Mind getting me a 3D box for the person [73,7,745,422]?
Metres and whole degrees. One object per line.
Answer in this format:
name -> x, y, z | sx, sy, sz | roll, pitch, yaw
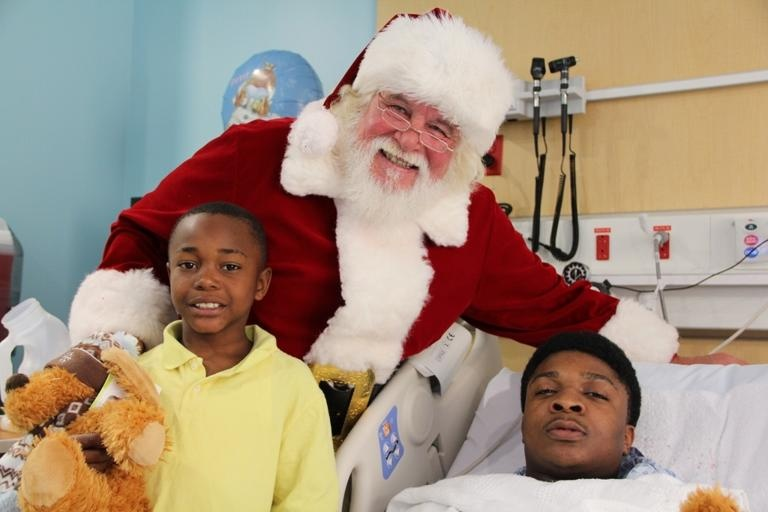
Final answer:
person -> 0.271, -0.158, 3.170 | 1.632, 1.042, 0.676 | 19, 9, -34
